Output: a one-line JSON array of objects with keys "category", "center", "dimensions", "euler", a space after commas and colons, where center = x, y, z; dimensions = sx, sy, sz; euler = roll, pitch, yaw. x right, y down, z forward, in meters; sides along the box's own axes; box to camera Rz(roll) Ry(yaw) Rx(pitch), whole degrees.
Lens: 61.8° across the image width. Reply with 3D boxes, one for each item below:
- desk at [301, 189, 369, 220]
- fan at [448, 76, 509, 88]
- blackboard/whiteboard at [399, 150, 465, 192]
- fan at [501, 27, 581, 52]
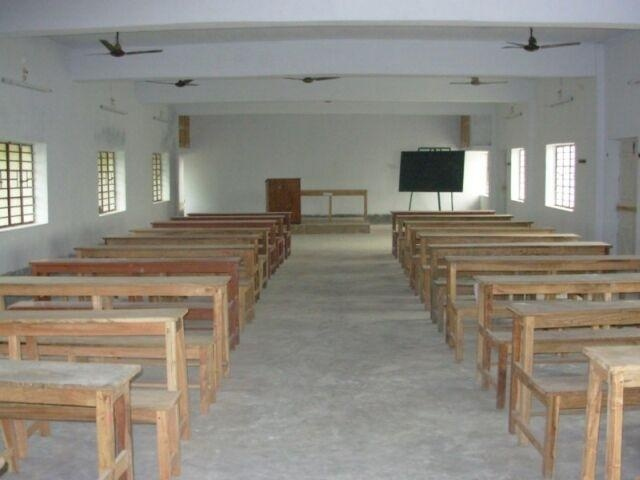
[{"category": "desk", "center": [0.417, -1.083, 16.384], "dimensions": [1.879, 0.936, 2.254], "euler": [0, 8, 0]}, {"category": "fan", "center": [3.531, -3.497, 11.869], "dimensions": [1.125, 0.211, 0.760], "euler": [-5, 9, -31]}, {"category": "blackboard/whiteboard", "center": [3.088, -1.887, 14.761], "dimensions": [1.208, 0.806, 0.063], "euler": [1, 1, 10]}, {"category": "fan", "center": [3.337, -3.054, 8.091], "dimensions": [0.827, 0.295, 0.829], "euler": [1, 14, 23]}]
